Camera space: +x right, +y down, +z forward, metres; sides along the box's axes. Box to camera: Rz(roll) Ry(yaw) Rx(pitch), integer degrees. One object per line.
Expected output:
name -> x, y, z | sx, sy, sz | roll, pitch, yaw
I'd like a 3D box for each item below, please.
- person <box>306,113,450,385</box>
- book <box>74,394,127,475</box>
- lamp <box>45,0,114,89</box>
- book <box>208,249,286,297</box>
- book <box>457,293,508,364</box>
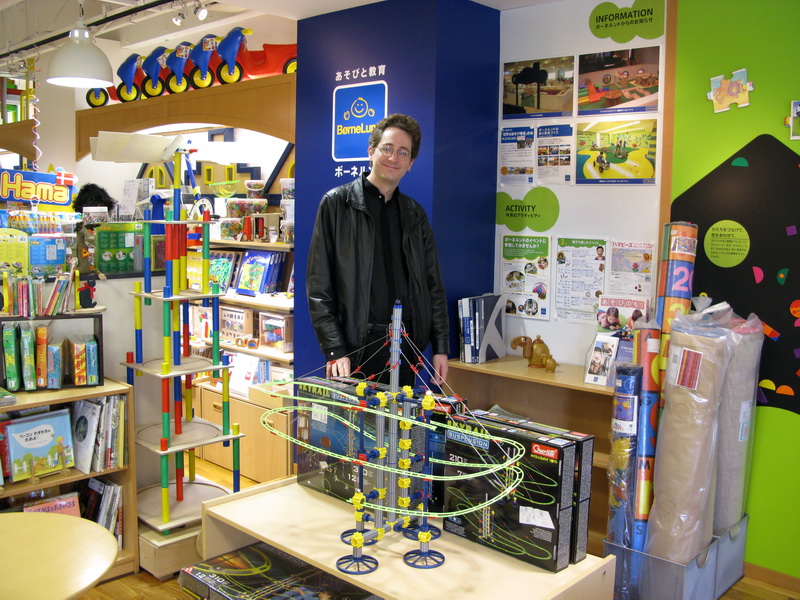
person -> -0.060, -0.147, 3.017 | 0.779, 1.455, 0.507 | -7, 16, -24
book -> -1.583, 0.700, 3.230 | 0.233, 0.420, 0.415 | -2, 3, -42
lamp -> -2.697, -2.075, 5.056 | 0.411, 0.634, 1.803 | -8, 18, -27
book -> -1.276, -0.238, 5.178 | 0.838, 0.370, 0.198 | 7, -16, 47
book -> 0.483, 0.180, 3.732 | 0.132, 0.369, 0.369 | 3, 8, 39
